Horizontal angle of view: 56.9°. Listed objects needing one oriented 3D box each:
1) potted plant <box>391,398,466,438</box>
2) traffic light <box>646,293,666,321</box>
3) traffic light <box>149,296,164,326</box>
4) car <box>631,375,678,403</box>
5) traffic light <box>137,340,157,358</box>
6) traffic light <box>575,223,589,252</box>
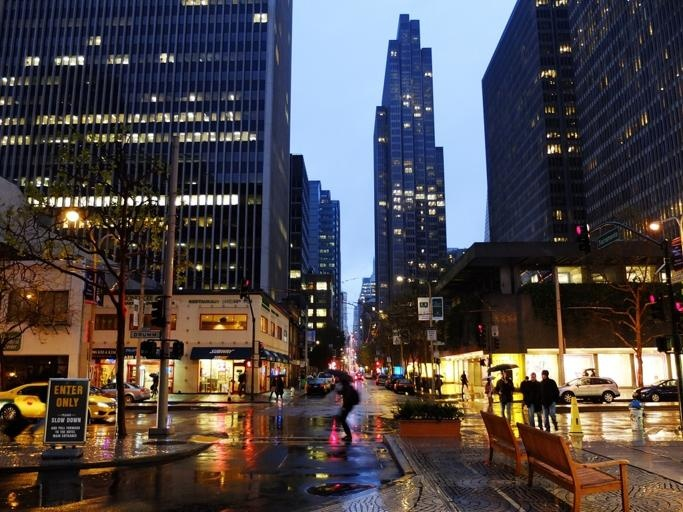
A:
[{"bbox_3d":[3.455,6.449,24.748,2.412,1.408,0.594,-4,-12,4],"label":"potted plant"},{"bbox_3d":[14.721,2.396,29.200,0.554,1.364,2.154,-8,-14,24],"label":"traffic light"},{"bbox_3d":[-7.576,2.296,26.097,0.495,1.274,0.564,0,-12,-12],"label":"traffic light"},{"bbox_3d":[22.025,9.404,43.639,2.800,1.531,1.119,-5,-12,8],"label":"car"},{"bbox_3d":[-7.819,3.811,25.561,0.630,0.746,0.903,2,-14,-21],"label":"traffic light"},{"bbox_3d":[10.712,-0.789,27.724,0.457,1.358,0.932,-6,-13,18],"label":"traffic light"}]
